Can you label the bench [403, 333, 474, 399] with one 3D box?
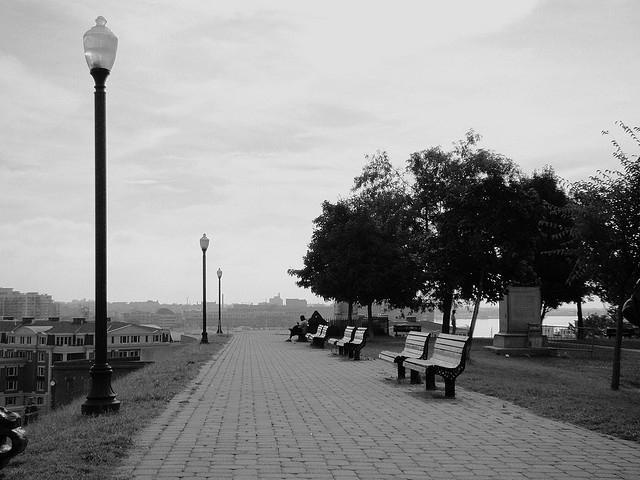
[{"bbox_3d":[2.364,2.679,16.773,0.883,1.311,2.050,4,-4,-12],"label":"bench"}]
